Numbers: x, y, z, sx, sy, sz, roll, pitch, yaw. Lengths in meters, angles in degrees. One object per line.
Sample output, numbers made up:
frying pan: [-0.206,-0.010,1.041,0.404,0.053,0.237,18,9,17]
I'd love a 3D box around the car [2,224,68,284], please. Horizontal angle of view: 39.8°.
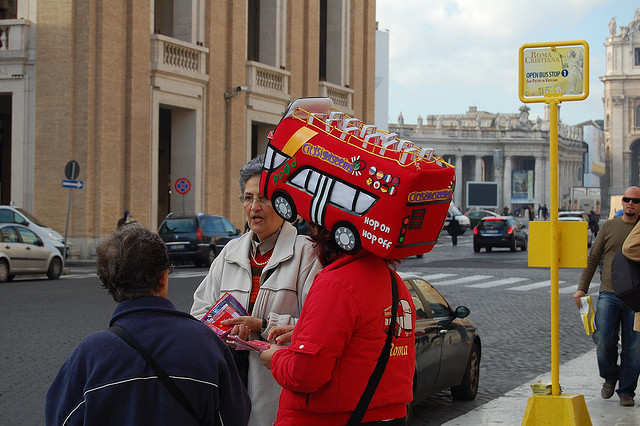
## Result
car: [-7.878,1.140,23.823,1.097,1.096,2.160,0,0,25]

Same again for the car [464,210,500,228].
car: [9.552,0.373,52.772,2.508,0.875,1.141,-3,4,-23]

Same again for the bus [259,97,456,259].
bus: [0.286,-0.274,7.687,1.605,1.054,0.784,25,17,36]

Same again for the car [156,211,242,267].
car: [-4.047,0.771,29.562,1.836,1.737,3.792,-1,3,24]

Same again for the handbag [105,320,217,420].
handbag: [-1.291,1.273,7.018,0.159,0.902,0.136,-41,-5,-24]

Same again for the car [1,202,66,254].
car: [-8.801,0.457,26.988,1.931,0.997,1.220,-1,1,-10]

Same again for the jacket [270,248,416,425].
jacket: [0.266,1.032,7.885,1.215,1.622,1.616,0,-3,36]

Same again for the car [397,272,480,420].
car: [1.418,1.797,11.470,1.187,1.162,2.135,0,4,28]
